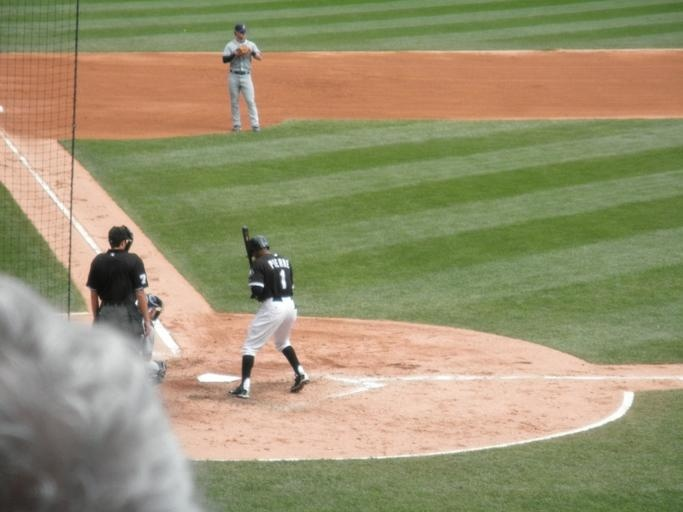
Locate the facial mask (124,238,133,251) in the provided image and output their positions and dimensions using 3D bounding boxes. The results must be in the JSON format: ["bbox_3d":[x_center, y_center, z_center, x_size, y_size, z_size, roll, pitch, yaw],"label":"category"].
[{"bbox_3d":[-3.553,-0.208,22.853,0.075,0.248,0.055,19,51,-12],"label":"facial mask"}]

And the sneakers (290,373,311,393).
[{"bbox_3d":[-0.722,2.147,23.299,0.171,0.189,0.454,-35,-5,-33],"label":"sneakers"}]

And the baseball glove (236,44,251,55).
[{"bbox_3d":[-2.308,-4.811,32.095,0.218,0.245,0.346,3,14,29],"label":"baseball glove"}]

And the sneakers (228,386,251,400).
[{"bbox_3d":[-1.711,2.297,23.150,0.372,0.132,0.148,8,4,11],"label":"sneakers"}]

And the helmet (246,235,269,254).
[{"bbox_3d":[-1.431,-0.210,23.607,0.268,0.257,0.348,0,21,34],"label":"helmet"}]
